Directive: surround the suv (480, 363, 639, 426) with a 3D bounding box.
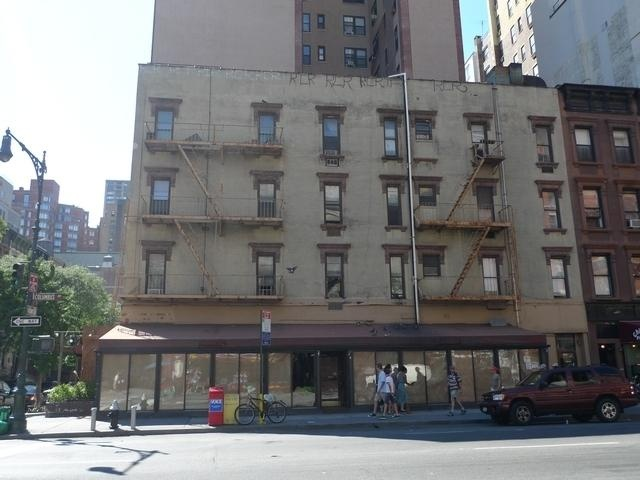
[{"bbox_3d":[10.111,6.679,27.030,5.982,2.419,2.731,2,-19,-2],"label":"suv"}]

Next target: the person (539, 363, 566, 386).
[{"bbox_3d":[9.886,5.770,26.513,1.132,0.626,0.684,10,-19,-15],"label":"person"}]
